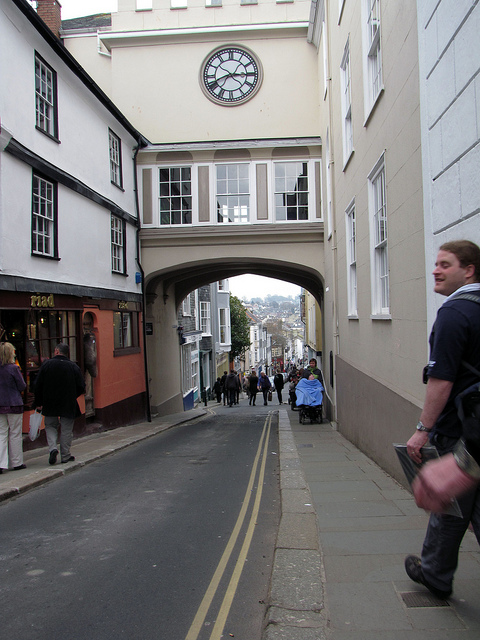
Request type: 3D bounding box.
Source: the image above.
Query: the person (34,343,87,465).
[{"bbox_3d":[-2.634,1.238,7.261,0.709,1.172,0.440,-3,-1,-30],"label":"person"}]

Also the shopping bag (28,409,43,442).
[{"bbox_3d":[-2.953,1.526,7.116,0.156,0.265,0.518,-3,-4,-24],"label":"shopping bag"}]

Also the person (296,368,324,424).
[{"bbox_3d":[1.859,1.985,13.302,0.776,0.382,1.769,6,15,6],"label":"person"}]

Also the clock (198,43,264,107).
[{"bbox_3d":[-0.322,-8.144,16.602,1.417,2.264,0.182,1,-7,3],"label":"clock"}]

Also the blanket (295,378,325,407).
[{"bbox_3d":[1.824,1.896,12.914,0.693,0.715,0.784,-5,-2,4],"label":"blanket"}]

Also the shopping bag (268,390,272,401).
[{"bbox_3d":[1.742,4.467,29.300,0.168,0.507,0.796,-3,-3,-9],"label":"shopping bag"}]

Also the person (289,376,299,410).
[{"bbox_3d":[2.485,3.012,21.106,0.586,1.254,1.719,2,3,8],"label":"person"}]
